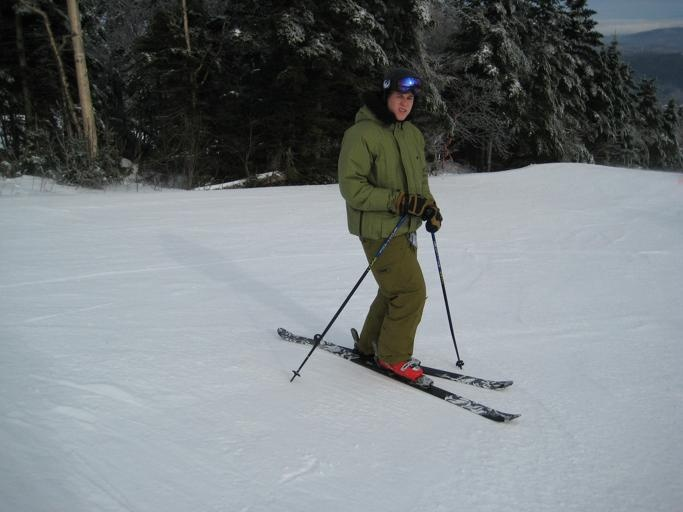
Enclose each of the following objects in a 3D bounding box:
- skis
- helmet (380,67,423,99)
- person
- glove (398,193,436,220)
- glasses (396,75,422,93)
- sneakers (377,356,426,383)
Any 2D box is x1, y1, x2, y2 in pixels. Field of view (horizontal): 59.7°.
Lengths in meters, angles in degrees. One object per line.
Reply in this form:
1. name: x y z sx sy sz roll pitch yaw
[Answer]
1. skis: 0.408 0.877 4.310 1.436 0.167 0.077 19 -27 30
2. helmet: 0.417 -1.222 4.198 0.184 0.183 0.239 -17 15 -37
3. person: 0.353 -0.221 4.352 0.743 2.210 0.489 1 5 0
4. glove: 0.550 -0.355 4.223 0.381 0.182 0.203 -4 7 -42
5. glasses: 0.467 -1.189 4.123 0.133 0.120 0.046 2 2 -11
6. sneakers: 0.479 0.833 4.409 0.398 0.168 0.140 14 2 22
